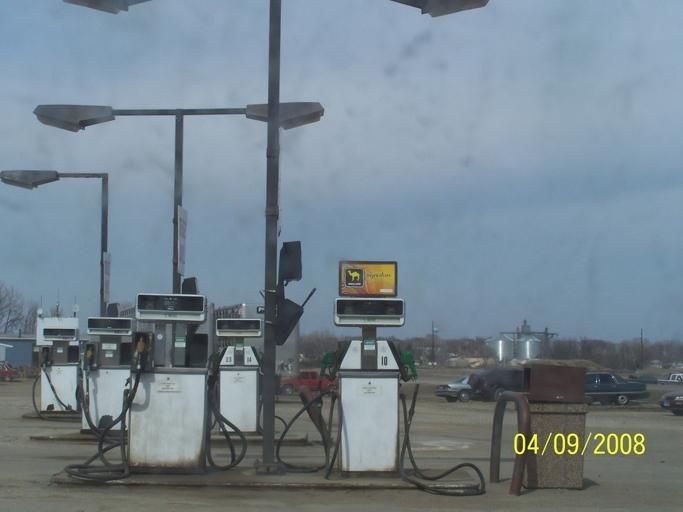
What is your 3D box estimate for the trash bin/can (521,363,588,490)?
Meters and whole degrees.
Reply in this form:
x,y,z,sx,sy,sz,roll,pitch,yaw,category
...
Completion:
x,y,z,sx,sy,sz,roll,pitch,yaw,category
4.707,3.825,26.496,1.743,2.772,1.924,7,-22,-2,trash bin/can
